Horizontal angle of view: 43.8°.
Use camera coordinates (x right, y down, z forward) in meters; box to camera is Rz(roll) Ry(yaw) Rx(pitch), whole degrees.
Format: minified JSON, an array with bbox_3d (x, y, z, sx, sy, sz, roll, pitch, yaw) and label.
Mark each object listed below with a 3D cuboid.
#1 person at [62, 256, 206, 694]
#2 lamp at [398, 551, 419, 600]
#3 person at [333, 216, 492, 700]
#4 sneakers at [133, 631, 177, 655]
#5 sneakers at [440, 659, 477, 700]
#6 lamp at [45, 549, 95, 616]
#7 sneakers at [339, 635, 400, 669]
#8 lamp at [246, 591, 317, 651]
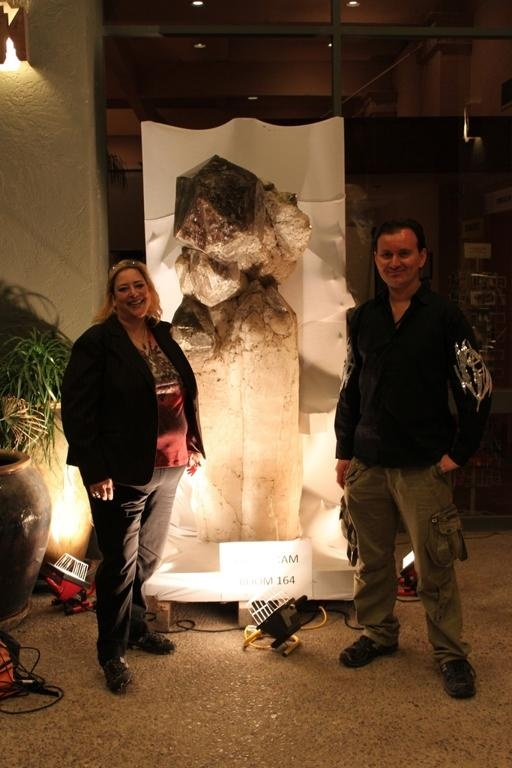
[{"bbox_3d":[-0.390,0.272,2.046,0.354,1.352,0.494,-1,1,10],"label":"person"},{"bbox_3d":[0.636,0.815,2.702,0.103,0.149,0.092,-3,11,2],"label":"lamp"},{"bbox_3d":[0.466,0.215,2.064,0.295,1.425,0.550,-2,1,-34],"label":"person"},{"bbox_3d":[-0.356,0.905,2.240,0.171,0.069,0.062,0,4,5],"label":"sneakers"},{"bbox_3d":[0.617,0.881,1.933,0.107,0.085,0.158,-1,1,15],"label":"sneakers"},{"bbox_3d":[-0.747,0.805,2.667,0.201,0.217,0.208,13,14,9],"label":"lamp"},{"bbox_3d":[0.372,0.884,2.147,0.216,0.093,0.074,0,0,-27],"label":"sneakers"},{"bbox_3d":[0.078,0.857,2.318,0.165,0.168,0.184,-1,3,40],"label":"lamp"}]
